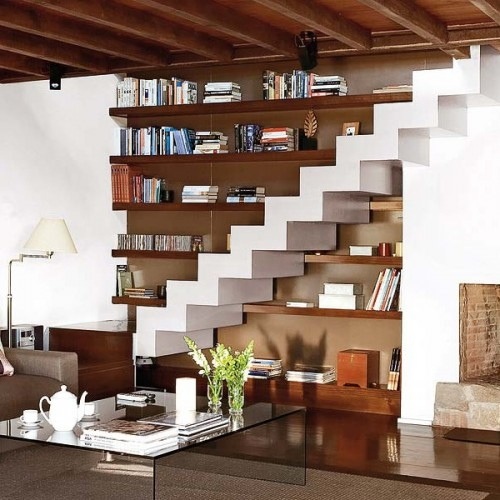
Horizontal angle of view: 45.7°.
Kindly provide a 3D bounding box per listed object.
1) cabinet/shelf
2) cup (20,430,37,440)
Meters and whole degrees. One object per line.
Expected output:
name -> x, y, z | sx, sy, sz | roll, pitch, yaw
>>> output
cabinet/shelf -> 0.159, 0.043, 4.955 | 3.130, 2.628, 0.896 | 1, -1, 25
cup -> -0.940, 0.785, 2.522 | 0.050, 0.048, 0.047 | 1, -3, 0
